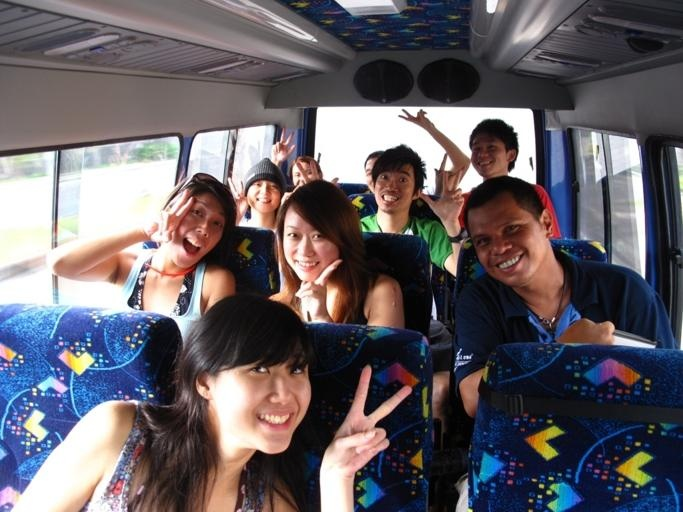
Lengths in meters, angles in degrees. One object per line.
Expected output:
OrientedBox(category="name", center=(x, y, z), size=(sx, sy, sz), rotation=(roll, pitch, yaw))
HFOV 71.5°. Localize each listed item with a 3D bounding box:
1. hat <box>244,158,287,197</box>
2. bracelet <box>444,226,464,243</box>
OrientedBox(category="hat", center=(-0.611, -0.641, 3.872), size=(0.234, 0.284, 0.321), rotation=(3, -5, -12))
OrientedBox(category="bracelet", center=(0.795, -0.136, 3.330), size=(0.115, 0.083, 0.126), rotation=(-12, -1, -6))
